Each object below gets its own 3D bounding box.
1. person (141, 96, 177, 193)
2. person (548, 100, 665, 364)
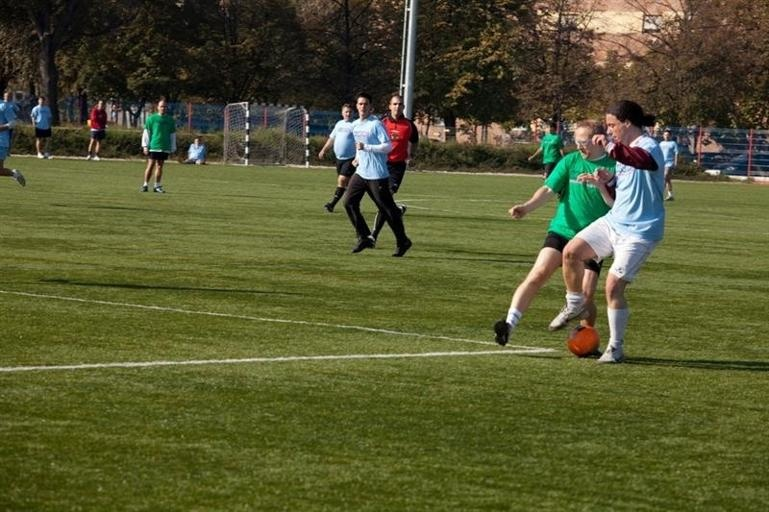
[{"bbox_3d":[-5.307,-2.576,23.851,0.727,2.132,1.233,0,15,-11],"label":"person"},{"bbox_3d":[2.076,-0.249,9.136,0.674,2.257,0.796,-6,18,-29],"label":"person"}]
